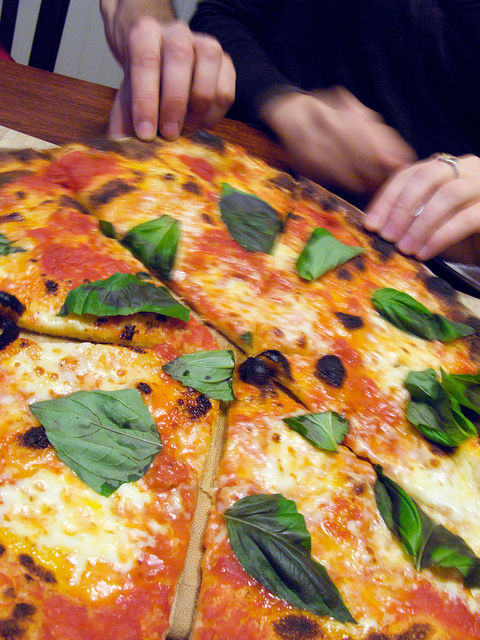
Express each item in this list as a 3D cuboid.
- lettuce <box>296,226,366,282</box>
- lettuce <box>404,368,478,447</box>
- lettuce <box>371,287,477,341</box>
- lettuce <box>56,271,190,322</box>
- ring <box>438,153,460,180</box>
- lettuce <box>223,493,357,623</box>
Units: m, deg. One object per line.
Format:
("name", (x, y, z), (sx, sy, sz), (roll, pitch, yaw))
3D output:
("lettuce", (0.116, -0.090, 0.746), (0.065, 0.047, 0.123), (31, 33, 14))
("lettuce", (0.209, 0.093, 0.579), (0.051, 0.023, 0.086), (-29, 33, 10))
("lettuce", (0.236, -0.003, 0.717), (0.117, 0.025, 0.061), (17, 41, 11))
("lettuce", (-0.126, -0.025, 0.532), (0.130, 0.084, 0.020), (-4, 64, 27))
("ring", (0.349, -0.254, 0.916), (0.034, 0.020, 0.040), (-37, 85, -21))
("lettuce", (0.033, 0.164, 0.419), (0.058, 0.029, 0.119), (-19, 54, -3))
